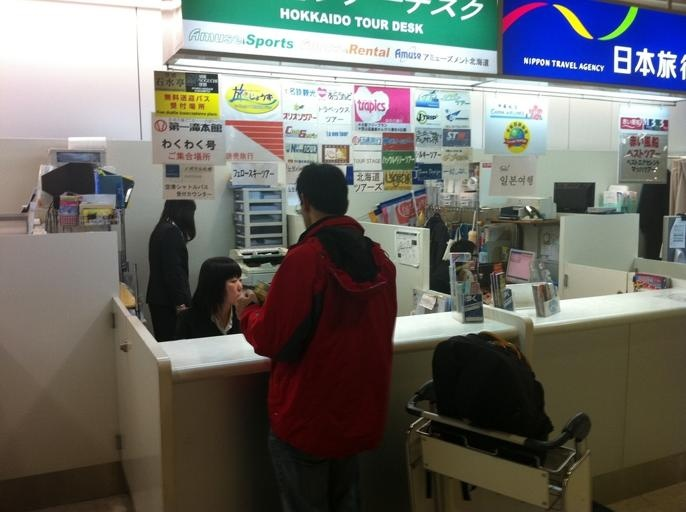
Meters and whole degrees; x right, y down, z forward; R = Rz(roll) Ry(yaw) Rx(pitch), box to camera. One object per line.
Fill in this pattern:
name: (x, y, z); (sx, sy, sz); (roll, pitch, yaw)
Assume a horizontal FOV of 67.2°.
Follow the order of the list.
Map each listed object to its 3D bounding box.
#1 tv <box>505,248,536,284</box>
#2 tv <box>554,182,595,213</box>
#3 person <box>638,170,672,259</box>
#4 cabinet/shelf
tv: (1.439, 0.098, 4.204); (0.121, 0.332, 0.320); (2, 4, -27)
tv: (2.664, -0.670, 6.009); (0.193, 0.351, 0.532); (-7, 12, -34)
person: (4.258, -0.472, 7.127); (0.435, 1.015, 0.344); (9, 13, 44)
cabinet/shelf: (-0.893, -0.454, 5.887); (0.532, 0.670, 0.565); (-1, 12, -2)
